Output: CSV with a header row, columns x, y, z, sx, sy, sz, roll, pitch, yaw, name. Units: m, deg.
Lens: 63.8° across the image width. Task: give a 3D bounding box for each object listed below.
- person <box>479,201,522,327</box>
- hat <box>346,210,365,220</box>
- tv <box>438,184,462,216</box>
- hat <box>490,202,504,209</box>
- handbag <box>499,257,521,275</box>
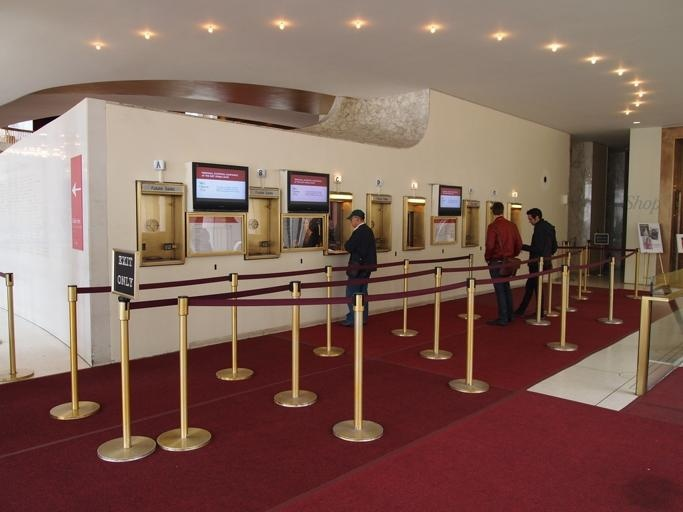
x,y,z,sx,sy,sz,roll,pitch,yaw,name
2.355,0.162,8.028,0.509,1.834,1.416,4,11,18,person
0.202,-0.621,7.997,0.191,0.119,0.136,8,12,30,hat
2.034,-1.042,10.272,0.731,0.605,0.075,-9,14,-43,tv
2.344,-0.762,8.261,0.149,0.121,0.151,-1,2,-25,hat
2.478,0.136,8.075,0.340,0.263,0.108,-7,16,-45,handbag
